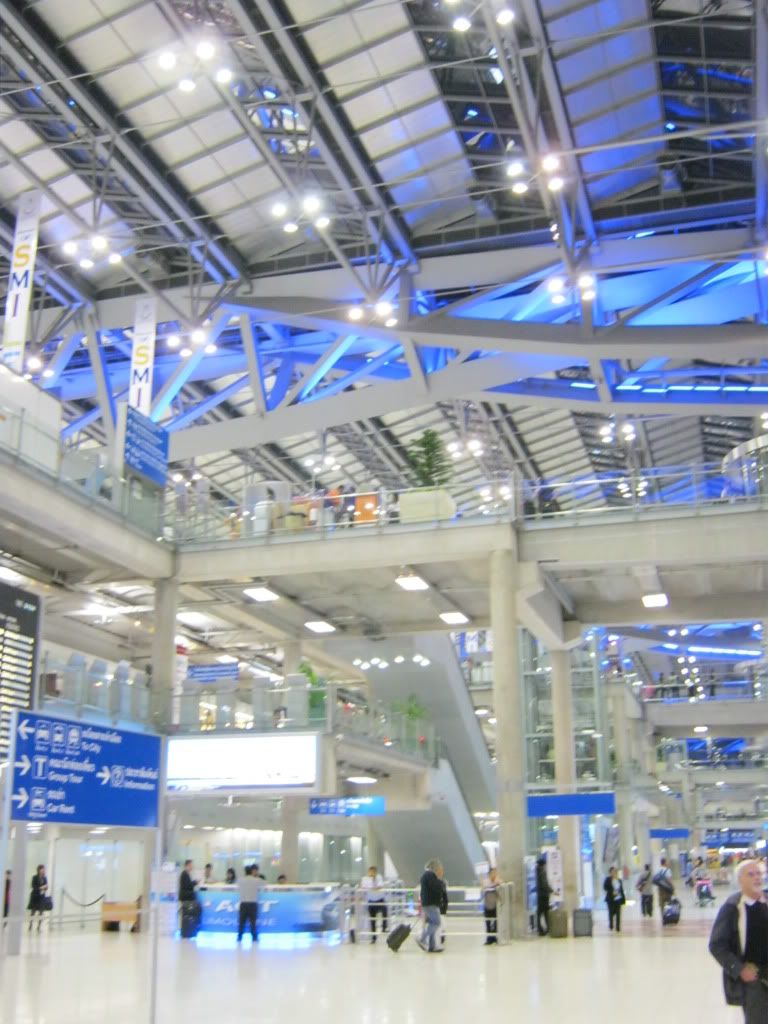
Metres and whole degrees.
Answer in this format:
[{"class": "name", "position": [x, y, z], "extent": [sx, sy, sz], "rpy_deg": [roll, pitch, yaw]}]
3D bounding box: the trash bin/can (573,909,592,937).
[{"class": "trash bin/can", "position": [3.715, 7.729, 17.197], "extent": [0.293, 0.452, 0.530], "rpy_deg": [-3, -9, 13]}]

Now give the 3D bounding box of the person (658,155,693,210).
[{"class": "person", "position": [5.789, -6.650, 18.400], "extent": [0.799, 0.700, 1.205], "rpy_deg": [5, -13, 16]}]

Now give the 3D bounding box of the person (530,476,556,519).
[{"class": "person", "position": [3.409, -0.306, 19.521], "extent": [0.574, 0.735, 0.126], "rpy_deg": [-4, -20, 8]}]
